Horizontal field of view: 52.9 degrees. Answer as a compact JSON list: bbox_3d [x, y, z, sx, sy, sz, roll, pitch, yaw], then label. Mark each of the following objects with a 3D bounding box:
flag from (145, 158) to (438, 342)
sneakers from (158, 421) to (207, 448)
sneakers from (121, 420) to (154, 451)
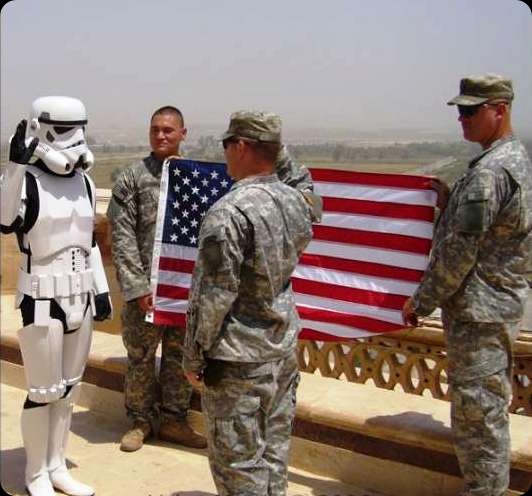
[{"bbox_3d":[0.178,0.007,3.343,1.852,0.871,0.105,0,5,7],"label":"flag"},{"bbox_3d":[-0.645,1.463,4.259,0.384,0.104,0.194,11,2,17],"label":"sneakers"},{"bbox_3d":[-1.006,1.449,4.126,0.147,0.050,0.222,6,17,14],"label":"sneakers"}]
